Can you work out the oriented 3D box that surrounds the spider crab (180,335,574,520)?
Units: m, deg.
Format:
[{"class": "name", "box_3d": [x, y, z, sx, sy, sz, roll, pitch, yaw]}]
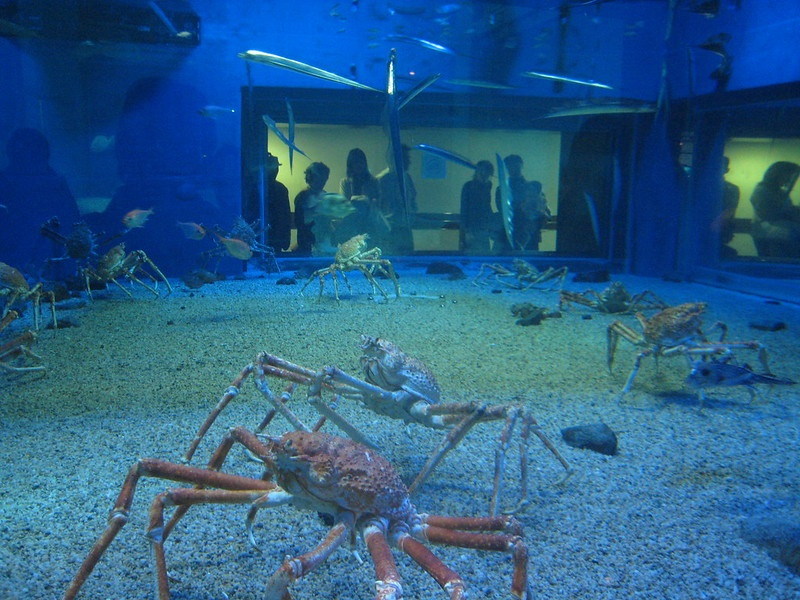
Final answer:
[{"class": "spider crab", "box_3d": [0.004, 0.607, 3.962, 1.756, 0.631, 1.250, 8, 9, 33]}]

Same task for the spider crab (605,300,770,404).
[{"class": "spider crab", "box_3d": [2.016, 0.263, 4.735, 0.819, 0.430, 0.910, -10, 3, 18]}]

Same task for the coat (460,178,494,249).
[{"class": "coat", "box_3d": [1.093, -1.207, 9.156, 0.511, 1.141, 0.121, -8, 17, -25]}]

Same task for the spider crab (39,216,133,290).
[{"class": "spider crab", "box_3d": [-3.476, -0.579, 6.959, 0.985, 0.309, 1.066, 5, 12, -21]}]

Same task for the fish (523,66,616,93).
[{"class": "fish", "box_3d": [2.295, -2.965, 8.703, 1.657, 0.152, 0.226, 10, 12, 15]}]

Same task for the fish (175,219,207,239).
[{"class": "fish", "box_3d": [-2.611, -0.870, 7.986, 0.474, 0.200, 0.126, 25, 17, 15]}]

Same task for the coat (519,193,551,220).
[{"class": "coat", "box_3d": [1.876, -1.287, 8.927, 0.383, 0.337, 0.130, 8, 3, -16]}]

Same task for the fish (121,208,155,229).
[{"class": "fish", "box_3d": [-3.212, -1.000, 7.845, 0.222, 0.076, 0.332, 14, 22, 13]}]

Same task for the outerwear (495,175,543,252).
[{"class": "outerwear", "box_3d": [1.731, -1.190, 8.836, 0.728, 0.959, 0.234, -2, 9, 8]}]

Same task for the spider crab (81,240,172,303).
[{"class": "spider crab", "box_3d": [-2.968, -0.267, 6.745, 0.722, 0.368, 0.686, -25, -3, -11]}]

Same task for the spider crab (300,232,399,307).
[{"class": "spider crab", "box_3d": [-0.518, -0.391, 7.140, 0.943, 0.598, 1.054, -4, 5, -17]}]

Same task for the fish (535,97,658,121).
[{"class": "fish", "box_3d": [2.697, -2.593, 8.701, 1.421, 0.246, 0.187, -7, -13, 6]}]
